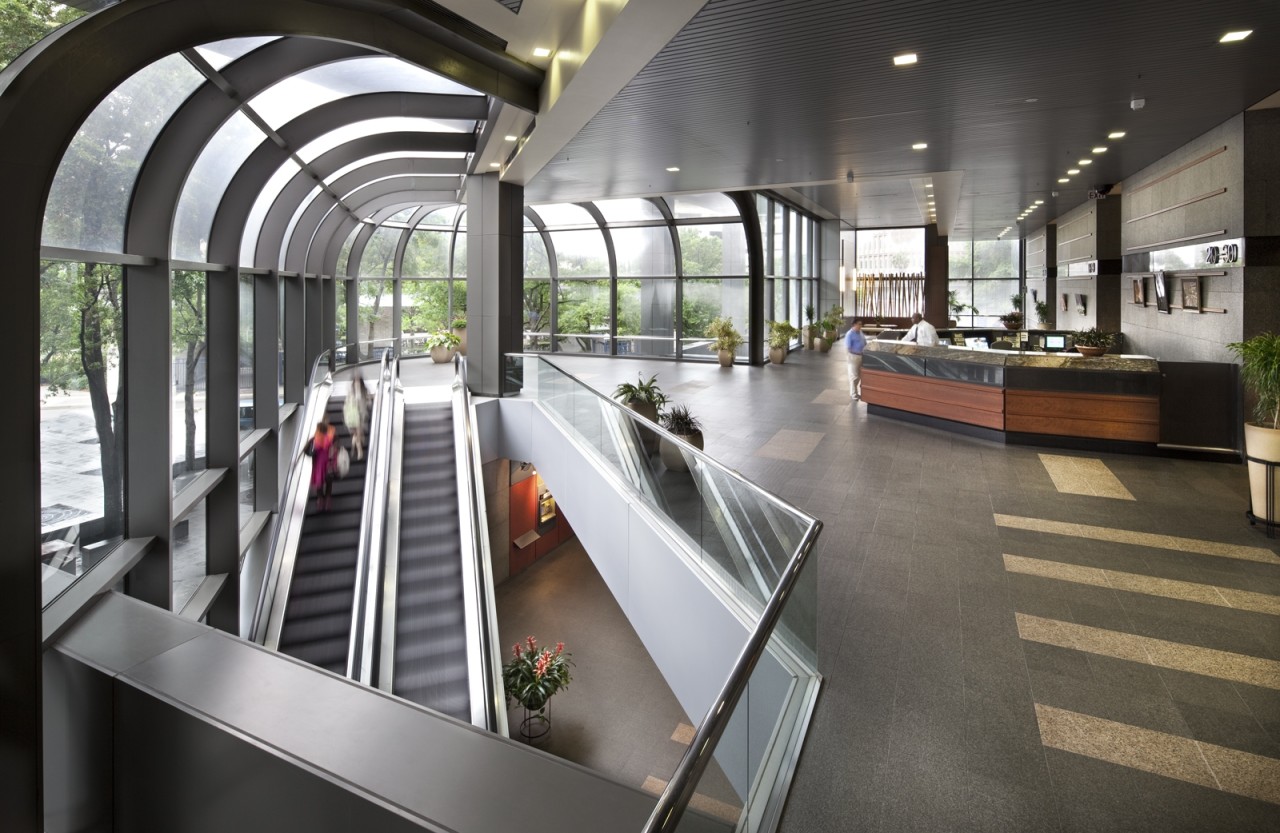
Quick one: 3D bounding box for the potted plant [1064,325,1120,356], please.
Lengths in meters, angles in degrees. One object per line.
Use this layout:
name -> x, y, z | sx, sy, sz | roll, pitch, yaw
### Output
potted plant -> 7.290, -1.227, 11.846 | 0.533, 0.375, 0.899 | 4, 17, 21

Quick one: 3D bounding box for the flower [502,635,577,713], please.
flower -> -1.600, 4.302, 11.864 | 1.071, 0.911, 1.077 | 15, -44, -39

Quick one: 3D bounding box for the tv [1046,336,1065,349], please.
tv -> 10.129, -1.903, 18.026 | 0.347, 0.236, 0.964 | 5, 17, 23

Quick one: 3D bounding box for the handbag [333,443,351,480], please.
handbag -> -5.368, 0.863, 13.350 | 0.120, 0.460, 0.436 | -4, -9, 34
